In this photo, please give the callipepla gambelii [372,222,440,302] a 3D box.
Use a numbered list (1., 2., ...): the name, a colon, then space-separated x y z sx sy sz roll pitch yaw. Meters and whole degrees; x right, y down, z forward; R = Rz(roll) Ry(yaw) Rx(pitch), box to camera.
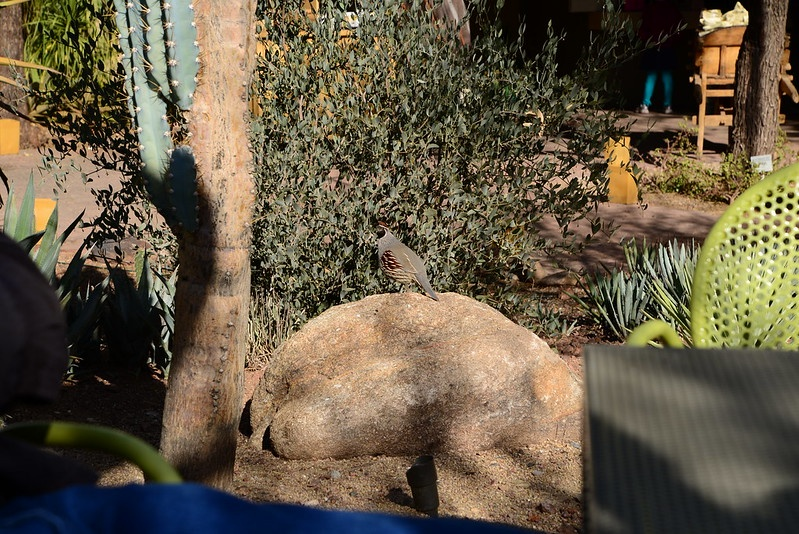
1. callipepla gambelii: 0.016 -0.020 4.872 0.612 0.405 0.218 17 9 39
